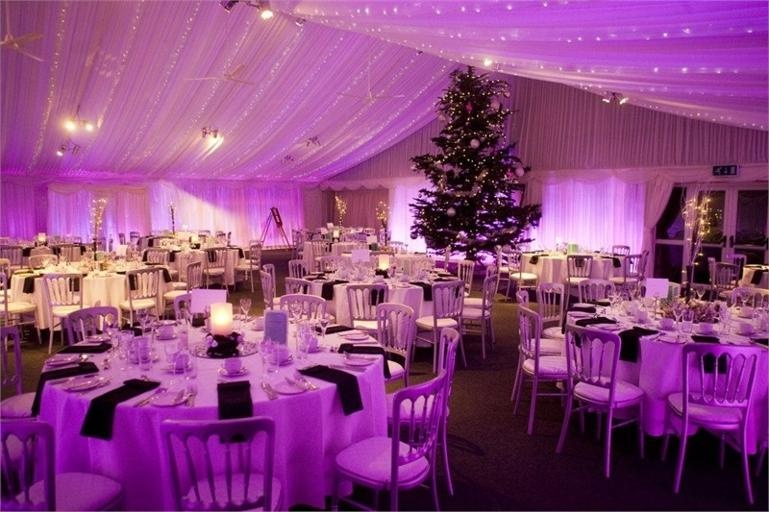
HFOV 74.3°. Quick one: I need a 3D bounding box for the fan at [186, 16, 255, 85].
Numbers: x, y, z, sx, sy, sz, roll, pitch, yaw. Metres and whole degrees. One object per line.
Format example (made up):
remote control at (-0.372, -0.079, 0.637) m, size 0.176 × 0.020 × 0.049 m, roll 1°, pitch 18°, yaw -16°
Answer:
fan at (-3.424, -4.126, 10.628) m, size 1.320 × 0.568 × 2.232 m, roll -1°, pitch 0°, yaw -25°
